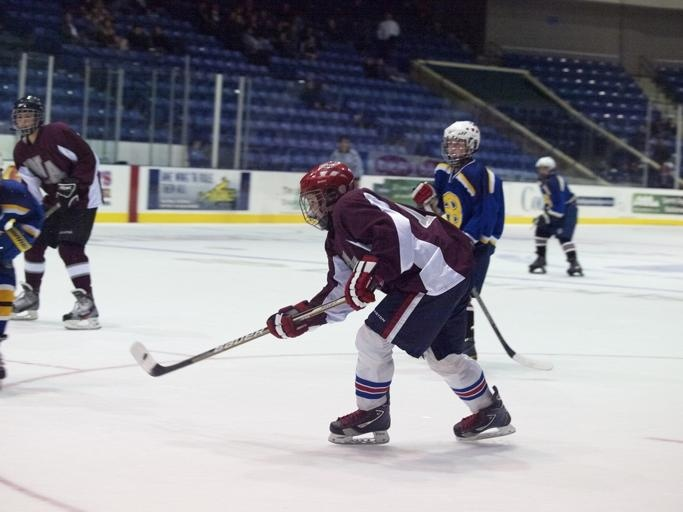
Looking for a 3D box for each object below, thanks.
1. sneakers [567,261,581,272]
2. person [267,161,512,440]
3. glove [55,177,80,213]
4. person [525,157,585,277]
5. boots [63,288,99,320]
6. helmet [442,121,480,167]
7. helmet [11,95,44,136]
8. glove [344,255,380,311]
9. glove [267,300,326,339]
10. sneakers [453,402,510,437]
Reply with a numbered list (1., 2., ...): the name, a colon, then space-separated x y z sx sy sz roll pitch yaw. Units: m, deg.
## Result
1. sneakers: 2.562 0.126 9.510 0.150 0.133 0.190 1 3 12
2. person: 0.242 0.231 4.197 1.175 1.388 0.423 1 4 8
3. glove: -1.898 -0.433 5.984 0.194 0.189 0.103 1 -13 -2
4. person: 2.468 -0.474 9.874 0.586 1.339 1.006 1 4 13
5. boots: -1.834 0.341 5.907 0.153 0.237 0.341 0 1 31
6. helmet: 0.744 -0.708 5.433 0.222 0.287 0.238 0 3 4
7. helmet: -2.169 -0.968 5.957 0.195 0.273 0.178 -1 4 -17
8. glove: 0.091 0.122 4.074 0.151 0.259 0.158 0 4 1
9. glove: -0.248 0.319 4.282 0.289 0.107 0.184 -20 31 -10
10. sneakers: 0.636 0.830 4.375 0.415 0.175 0.117 -4 2 -1
